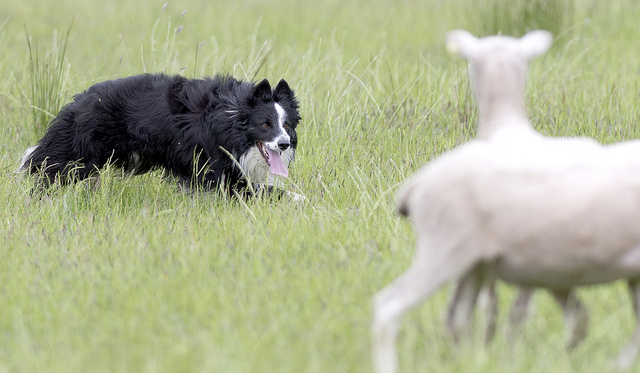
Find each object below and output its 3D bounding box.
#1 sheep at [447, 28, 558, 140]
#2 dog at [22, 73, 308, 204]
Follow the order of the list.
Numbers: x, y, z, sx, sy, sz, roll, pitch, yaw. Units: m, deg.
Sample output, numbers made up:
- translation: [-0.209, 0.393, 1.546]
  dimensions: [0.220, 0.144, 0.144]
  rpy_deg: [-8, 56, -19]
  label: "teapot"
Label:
- translation: [1.405, -0.790, 6.312]
  dimensions: [0.791, 0.358, 0.901]
  rpy_deg: [2, 81, 4]
  label: "sheep"
- translation: [-1.657, -0.315, 8.484]
  dimensions: [3.047, 0.756, 1.611]
  rpy_deg: [4, 92, 17]
  label: "dog"
